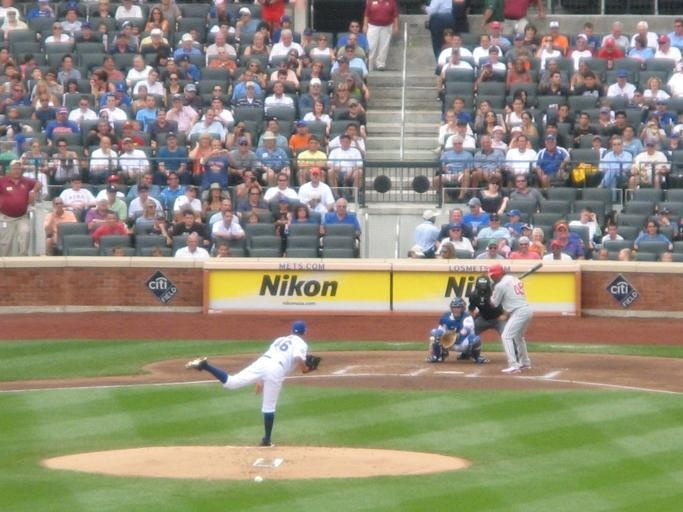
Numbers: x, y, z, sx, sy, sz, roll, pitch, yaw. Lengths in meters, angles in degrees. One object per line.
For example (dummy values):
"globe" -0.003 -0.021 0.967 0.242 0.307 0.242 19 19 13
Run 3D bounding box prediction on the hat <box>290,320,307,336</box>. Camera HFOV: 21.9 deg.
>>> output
"hat" -0.791 1.386 34.312 0.277 0.257 0.435 6 -13 6

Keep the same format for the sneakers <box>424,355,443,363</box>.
"sneakers" 2.040 2.253 38.654 0.363 0.156 0.128 3 8 -6

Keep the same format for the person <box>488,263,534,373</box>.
"person" 3.611 1.234 37.924 1.006 2.306 0.938 2 21 19

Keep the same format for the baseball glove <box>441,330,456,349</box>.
"baseball glove" 2.329 1.789 38.241 0.310 0.369 0.375 6 1 2

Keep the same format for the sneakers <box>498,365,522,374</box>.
"sneakers" 3.609 2.423 37.525 0.366 0.143 0.160 1 2 3
